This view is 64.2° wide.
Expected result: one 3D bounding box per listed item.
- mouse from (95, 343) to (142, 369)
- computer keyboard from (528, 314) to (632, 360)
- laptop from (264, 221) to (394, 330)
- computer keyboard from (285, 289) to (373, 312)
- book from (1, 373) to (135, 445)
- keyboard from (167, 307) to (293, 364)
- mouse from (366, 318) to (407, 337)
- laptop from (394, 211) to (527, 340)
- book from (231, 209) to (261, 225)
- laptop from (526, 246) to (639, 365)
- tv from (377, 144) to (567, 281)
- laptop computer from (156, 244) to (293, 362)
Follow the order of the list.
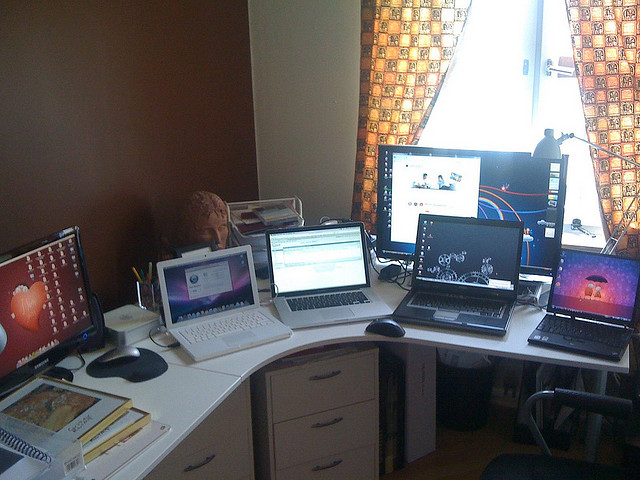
[{"bbox_3d":[-0.768,0.434,1.930,0.145,0.047,0.074,-4,18,-16],"label":"mouse"},{"bbox_3d":[1.021,0.377,1.995,0.360,0.048,0.229,10,18,24],"label":"computer keyboard"},{"bbox_3d":[-0.001,0.153,2.309,0.535,0.333,0.465,-6,25,-15],"label":"laptop"},{"bbox_3d":[0.037,0.271,2.289,0.372,0.045,0.118,-1,17,-9],"label":"computer keyboard"},{"bbox_3d":[-0.831,0.535,1.637,0.251,0.020,0.176,12,22,26],"label":"book"},{"bbox_3d":[-0.370,0.382,2.079,0.462,0.082,0.249,-6,18,-26],"label":"keyboard"},{"bbox_3d":[0.276,0.351,2.088,0.125,0.042,0.076,4,16,14],"label":"mouse"},{"bbox_3d":[0.587,0.131,2.157,0.481,0.352,0.415,4,20,26],"label":"laptop"},{"bbox_3d":[-0.391,-0.125,2.658,0.095,0.053,0.162,-10,20,-34],"label":"book"},{"bbox_3d":[1.079,0.256,2.077,0.367,0.325,0.463,10,28,31],"label":"laptop"},{"bbox_3d":[0.705,-0.131,2.319,0.630,0.432,0.026,6,15,20],"label":"tv"},{"bbox_3d":[-0.388,0.291,2.058,0.523,0.355,0.458,-11,22,-32],"label":"laptop computer"}]
